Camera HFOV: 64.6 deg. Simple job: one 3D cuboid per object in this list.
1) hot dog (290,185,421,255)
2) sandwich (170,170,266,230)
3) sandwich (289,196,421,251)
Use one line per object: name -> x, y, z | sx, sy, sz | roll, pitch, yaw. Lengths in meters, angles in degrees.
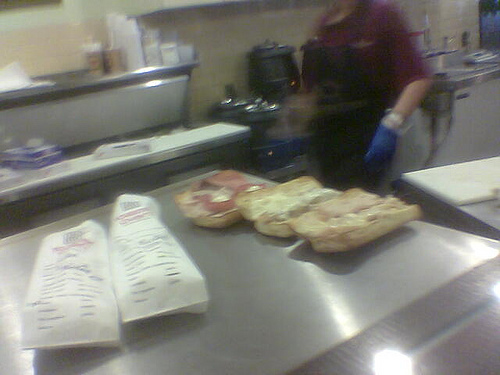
hot dog -> 0.109, 0.041, 0.471 | 0.120, 0.027, 0.119 | -20, 17, -22
sandwich -> -0.047, 0.022, 0.556 | 0.097, 0.026, 0.088 | -2, 25, 23
sandwich -> 0.112, 0.026, 0.445 | 0.115, 0.020, 0.063 | -13, 11, -15
